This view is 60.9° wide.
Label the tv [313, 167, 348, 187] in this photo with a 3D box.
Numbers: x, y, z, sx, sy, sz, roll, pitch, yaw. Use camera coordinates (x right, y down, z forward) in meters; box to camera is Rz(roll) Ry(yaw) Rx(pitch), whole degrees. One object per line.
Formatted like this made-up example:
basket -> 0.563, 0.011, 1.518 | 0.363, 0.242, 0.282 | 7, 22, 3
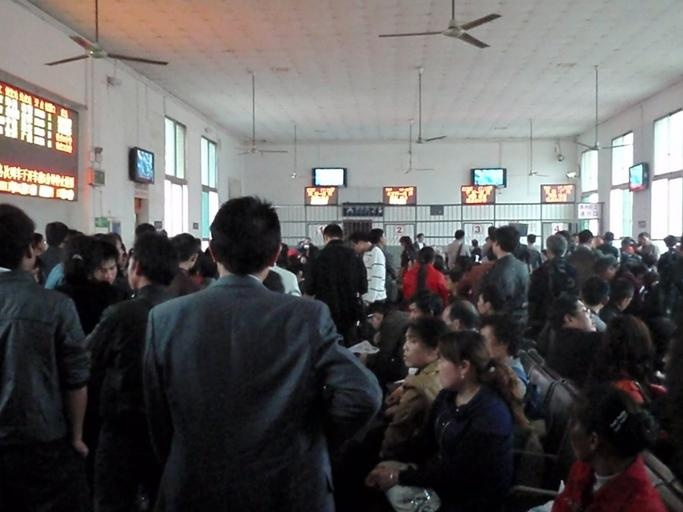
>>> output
tv -> -0.380, -2.571, 18.959 | 0.797, 0.552, 0.425 | 0, -2, 0
